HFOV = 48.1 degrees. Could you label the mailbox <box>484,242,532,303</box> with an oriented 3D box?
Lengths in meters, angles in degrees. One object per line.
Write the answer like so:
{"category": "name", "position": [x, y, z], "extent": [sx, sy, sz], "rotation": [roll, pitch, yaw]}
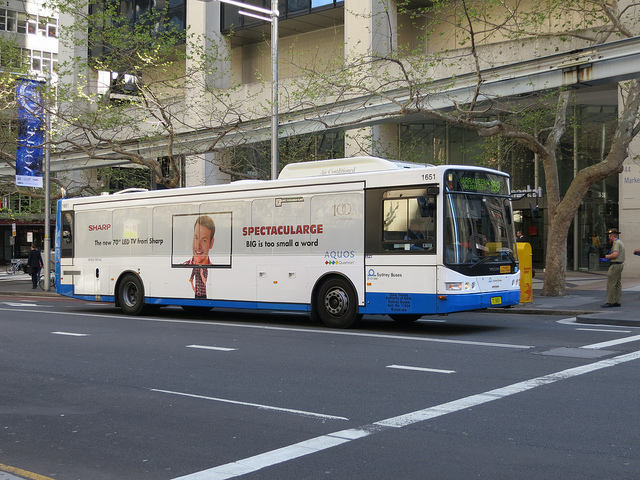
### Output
{"category": "mailbox", "position": [5.940, 0.872, 20.142], "extent": [0.963, 1.570, 0.799], "rotation": [-2, 2, -42]}

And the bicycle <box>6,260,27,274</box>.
{"category": "bicycle", "position": [-20.401, 1.843, 48.387], "extent": [1.618, 1.071, 0.841], "rotation": [2, 0, 18]}

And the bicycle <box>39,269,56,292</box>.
{"category": "bicycle", "position": [-13.027, 1.945, 34.332], "extent": [0.539, 1.021, 0.897], "rotation": [3, -4, -21]}

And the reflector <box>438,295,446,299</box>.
{"category": "reflector", "position": [2.494, 1.196, 14.901], "extent": [0.153, 0.057, 0.036], "rotation": [-1, 3, 10]}

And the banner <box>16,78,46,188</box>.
{"category": "banner", "position": [-12.089, -4.465, 29.841], "extent": [1.156, 4.413, 0.047], "rotation": [2, 4, -2]}
